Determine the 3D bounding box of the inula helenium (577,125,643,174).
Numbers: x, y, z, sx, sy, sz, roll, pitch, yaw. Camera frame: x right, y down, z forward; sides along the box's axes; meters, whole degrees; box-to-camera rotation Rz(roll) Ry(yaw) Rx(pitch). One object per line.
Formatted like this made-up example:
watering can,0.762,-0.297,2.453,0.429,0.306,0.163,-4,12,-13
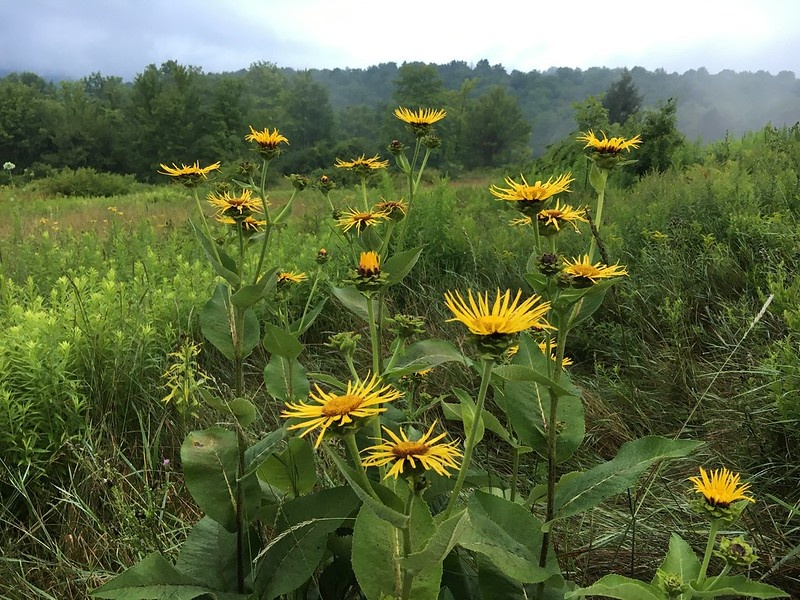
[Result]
inula helenium,1.099,-0.785,3.471,0.299,0.184,0.322,-3,8,-34

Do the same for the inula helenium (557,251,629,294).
inula helenium,0.930,-0.135,3.211,0.264,0.125,0.433,8,20,19

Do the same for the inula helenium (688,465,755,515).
inula helenium,1.474,0.877,3.083,0.349,0.161,0.334,-6,-2,-42

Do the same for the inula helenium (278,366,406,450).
inula helenium,-0.247,0.482,2.847,0.465,0.149,0.513,-5,17,40

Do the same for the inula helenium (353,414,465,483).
inula helenium,0.042,0.694,2.875,0.451,0.131,0.501,-1,1,35

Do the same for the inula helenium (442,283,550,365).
inula helenium,0.430,0.095,2.889,0.359,0.317,0.407,12,21,30
